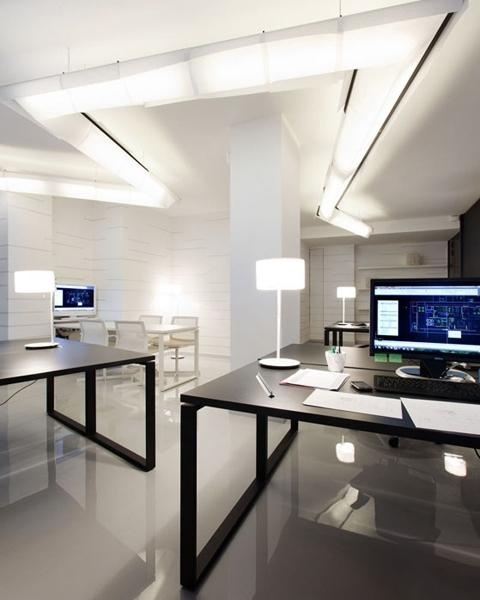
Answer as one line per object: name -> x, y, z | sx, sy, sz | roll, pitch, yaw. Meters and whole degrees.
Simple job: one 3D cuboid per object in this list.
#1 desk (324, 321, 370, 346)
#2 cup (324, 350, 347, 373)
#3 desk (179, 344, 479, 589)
desk -> 1.666, 0.516, 6.707 | 0.544, 0.634, 0.591 | 0, -1, 28
cup -> 0.443, 0.283, 2.015 | 0.077, 0.084, 0.090 | 0, -5, -2
desk -> 0.252, 0.574, 1.984 | 0.751, 0.626, 1.070 | 2, 4, 27
